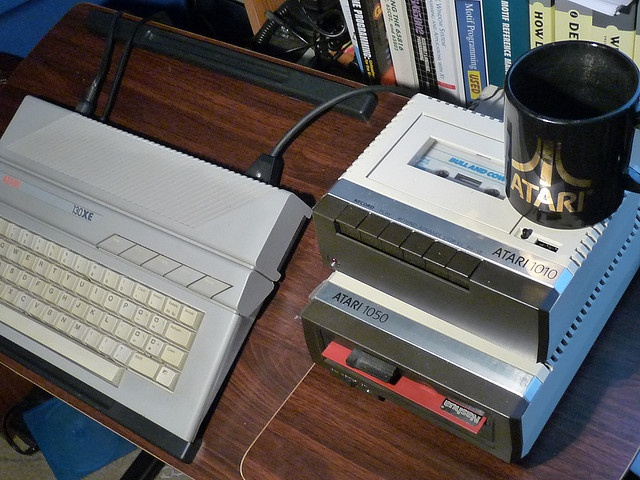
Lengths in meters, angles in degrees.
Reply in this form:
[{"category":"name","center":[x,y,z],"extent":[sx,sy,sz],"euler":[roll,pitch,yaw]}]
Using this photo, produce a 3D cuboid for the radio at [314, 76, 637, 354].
[{"category":"radio","center":[0.223,-0.052,0.732],"extent":[0.429,0.231,0.305],"euler":[20,40,26]}]
